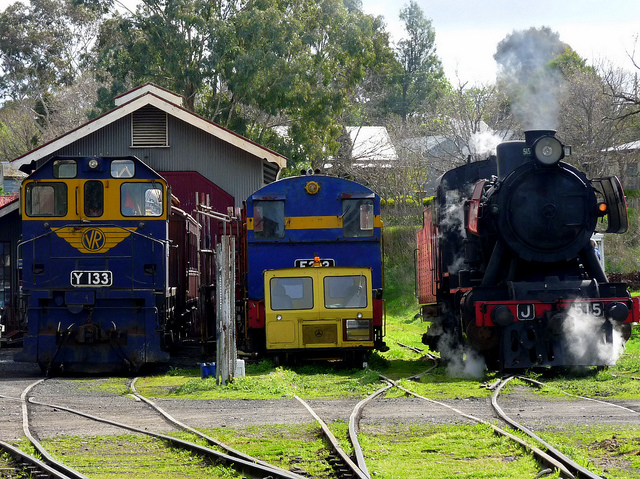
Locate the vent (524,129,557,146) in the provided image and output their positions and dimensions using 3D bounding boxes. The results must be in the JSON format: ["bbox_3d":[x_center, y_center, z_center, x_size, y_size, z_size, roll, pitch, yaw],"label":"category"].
[{"bbox_3d":[4.790,-2.274,15.601,0.477,0.254,0.392,1,-2,3],"label":"vent"}]

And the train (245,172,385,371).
[{"bbox_3d":[0.023,-0.016,21.697,3.646,5.665,8.120,-2,14,4],"label":"train"}]

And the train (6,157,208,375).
[{"bbox_3d":[-5.624,0.734,18.883,4.524,5.460,4.361,-1,-1,-20],"label":"train"}]
